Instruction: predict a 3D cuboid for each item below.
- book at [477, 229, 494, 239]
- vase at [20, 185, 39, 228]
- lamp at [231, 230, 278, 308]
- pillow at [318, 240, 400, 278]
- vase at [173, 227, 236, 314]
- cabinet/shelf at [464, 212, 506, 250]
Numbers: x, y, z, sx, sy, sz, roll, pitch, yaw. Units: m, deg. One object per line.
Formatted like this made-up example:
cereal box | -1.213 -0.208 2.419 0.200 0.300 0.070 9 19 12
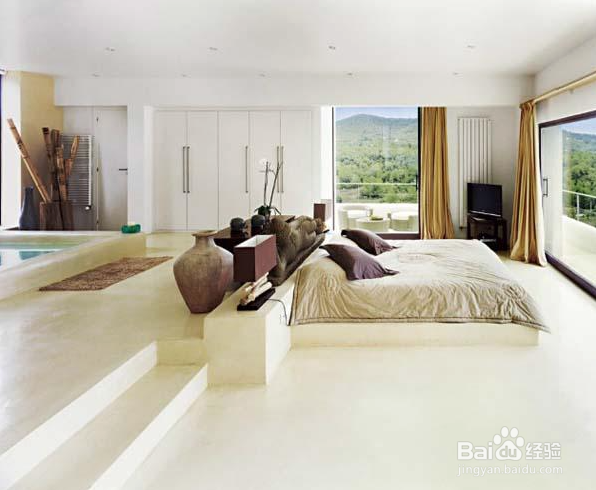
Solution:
book | 3.333 -0.184 7.641 0.213 0.053 0.206 7 17 28
vase | -3.937 -0.563 6.259 0.239 0.611 0.326 -6 14 -34
lamp | -0.296 0.189 3.051 0.147 0.416 0.481 1 9 12
pillow | 0.452 0.098 3.644 0.304 0.105 0.412 11 16 -21
vase | -0.571 0.194 3.395 0.556 0.752 0.578 0 -3 5
cabinet/shelf | 3.118 -0.246 7.060 0.600 0.875 0.446 0 0 -3
